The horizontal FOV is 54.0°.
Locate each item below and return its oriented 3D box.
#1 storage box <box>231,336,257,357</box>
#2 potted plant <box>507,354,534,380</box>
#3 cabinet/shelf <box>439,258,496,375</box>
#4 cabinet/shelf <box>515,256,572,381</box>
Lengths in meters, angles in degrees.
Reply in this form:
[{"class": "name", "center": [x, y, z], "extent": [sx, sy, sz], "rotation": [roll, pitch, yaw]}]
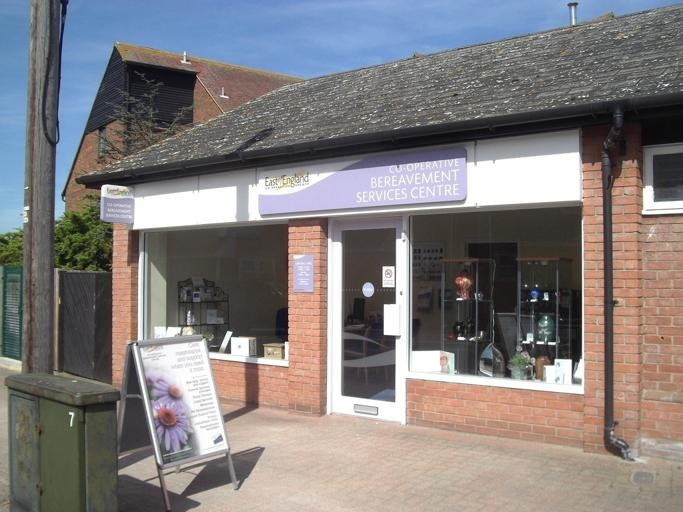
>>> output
[{"class": "storage box", "center": [-1.753, 1.580, 11.770], "extent": [0.524, 0.299, 0.376], "rotation": [-2, -1, 37]}, {"class": "potted plant", "center": [2.500, 1.538, 9.362], "extent": [0.325, 0.350, 0.310], "rotation": [1, -7, -3]}, {"class": "cabinet/shelf", "center": [1.823, 0.856, 9.685], "extent": [0.747, 1.610, 0.377], "rotation": [0, 5, 15]}, {"class": "cabinet/shelf", "center": [2.767, 0.842, 9.171], "extent": [0.439, 1.628, 0.588], "rotation": [-4, 3, -39]}]
